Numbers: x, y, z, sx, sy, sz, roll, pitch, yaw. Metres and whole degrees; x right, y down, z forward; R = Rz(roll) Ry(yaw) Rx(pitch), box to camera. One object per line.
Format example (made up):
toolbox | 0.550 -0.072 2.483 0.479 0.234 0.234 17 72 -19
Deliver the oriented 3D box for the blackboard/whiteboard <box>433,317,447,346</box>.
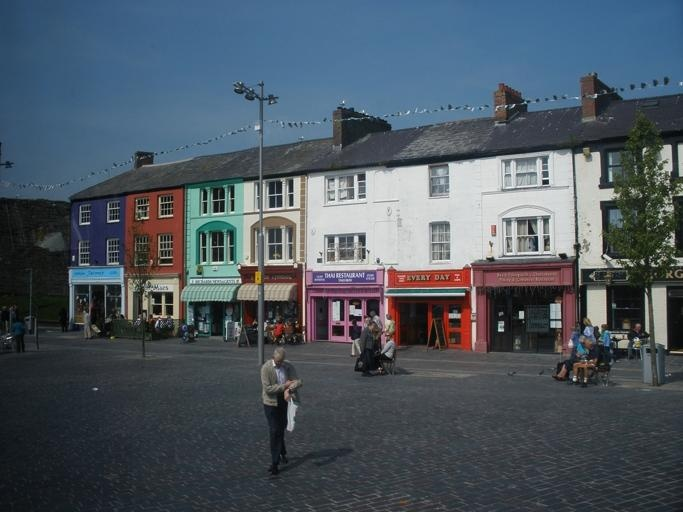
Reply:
blackboard/whiteboard | 5.046 3.963 45.734 0.691 1.514 0.477 -7 8 -36

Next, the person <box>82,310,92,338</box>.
person | -15.262 4.215 53.573 0.263 1.447 1.068 -3 6 -7

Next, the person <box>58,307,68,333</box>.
person | -18.854 4.333 60.444 0.398 1.717 1.315 -4 7 -21

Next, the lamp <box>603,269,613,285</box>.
lamp | 12.355 0.992 41.365 0.492 0.997 0.508 -2 -4 39

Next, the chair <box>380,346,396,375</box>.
chair | 1.768 4.145 34.825 0.724 1.248 0.889 1 -4 4
